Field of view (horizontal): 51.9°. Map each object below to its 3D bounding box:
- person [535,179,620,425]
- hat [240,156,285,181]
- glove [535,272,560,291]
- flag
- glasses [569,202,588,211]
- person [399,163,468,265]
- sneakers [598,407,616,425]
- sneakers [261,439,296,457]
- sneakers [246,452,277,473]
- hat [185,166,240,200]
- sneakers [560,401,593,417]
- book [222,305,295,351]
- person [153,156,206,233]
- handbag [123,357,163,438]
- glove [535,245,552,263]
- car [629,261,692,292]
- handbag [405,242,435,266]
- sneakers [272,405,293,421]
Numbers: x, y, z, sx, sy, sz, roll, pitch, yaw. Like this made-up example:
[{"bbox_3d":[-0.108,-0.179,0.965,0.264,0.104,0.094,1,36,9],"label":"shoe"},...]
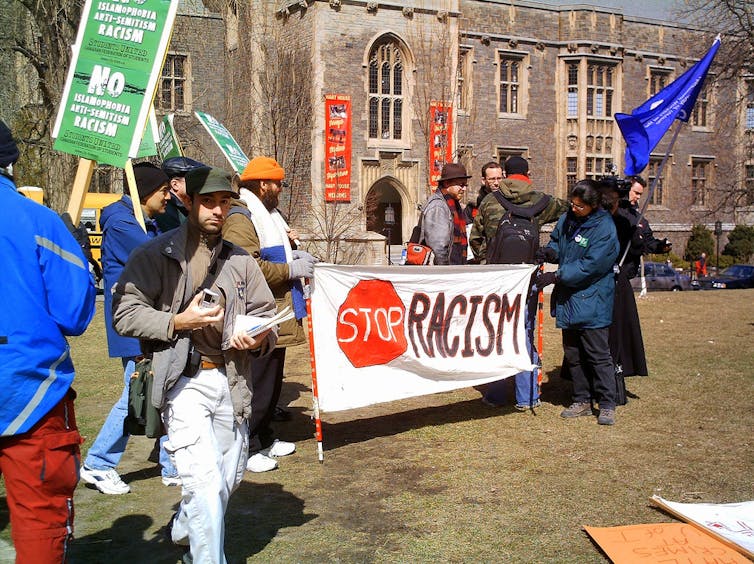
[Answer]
[{"bbox_3d":[2.217,0.168,8.336,0.932,2.517,0.627,4,8,42],"label":"person"},{"bbox_3d":[-1.033,-1.019,7.036,0.294,0.180,0.222,2,3,6],"label":"hat"},{"bbox_3d":[1.872,-0.018,8.413,0.162,0.103,0.205,-4,-5,44],"label":"glove"},{"bbox_3d":[3.648,-2.153,9.896,1.158,1.527,0.564,-2,6,-4],"label":"flag"},{"bbox_3d":[2.149,-0.786,8.183,0.111,0.061,0.109,-6,37,-18],"label":"glasses"},{"bbox_3d":[0.710,-0.764,8.912,0.820,1.164,0.578,-3,6,-14],"label":"person"},{"bbox_3d":[2.392,1.374,8.052,0.171,0.158,0.206,1,7,16],"label":"sneakers"},{"bbox_3d":[-0.929,1.542,7.334,0.305,0.141,0.119,-8,18,-25],"label":"sneakers"},{"bbox_3d":[-1.010,1.599,6.934,0.344,0.163,0.165,-1,3,23],"label":"sneakers"},{"bbox_3d":[-1.063,-0.643,4.995,0.329,0.207,0.278,-3,7,-15],"label":"hat"},{"bbox_3d":[2.172,1.353,8.388,0.367,0.183,0.134,-1,3,-11],"label":"sneakers"},{"bbox_3d":[-0.765,0.212,4.883,0.308,0.116,0.322,-8,17,42],"label":"book"},{"bbox_3d":[-1.596,-0.688,6.210,0.439,0.755,0.573,-4,19,-17],"label":"person"},{"bbox_3d":[-1.507,0.751,4.984,0.210,0.543,0.362,-5,7,-30],"label":"handbag"},{"bbox_3d":[1.854,-0.296,8.574,0.170,0.142,0.179,-6,43,15],"label":"glove"},{"bbox_3d":[10.466,-0.180,28.511,2.539,0.943,1.163,2,2,-7],"label":"car"},{"bbox_3d":[0.473,-0.310,8.686,0.279,0.303,0.212,14,15,4],"label":"handbag"},{"bbox_3d":[-1.050,1.430,8.529,0.239,0.114,0.123,-1,4,23],"label":"sneakers"}]
